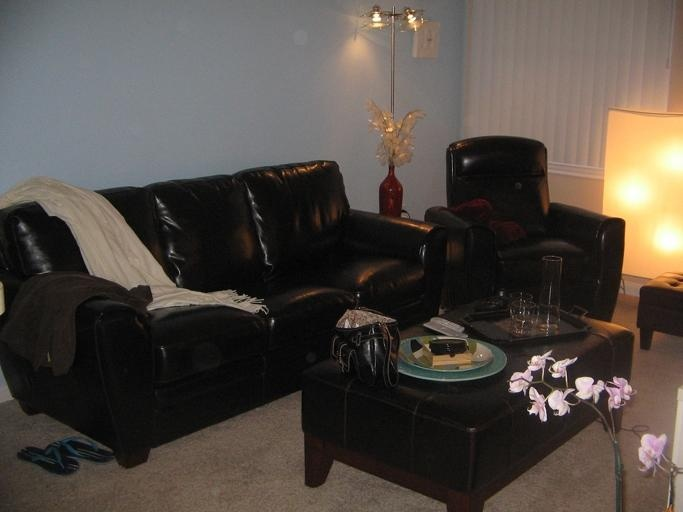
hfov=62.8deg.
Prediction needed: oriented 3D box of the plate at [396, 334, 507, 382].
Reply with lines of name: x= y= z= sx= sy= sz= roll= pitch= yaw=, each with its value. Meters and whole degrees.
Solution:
plate: x=0.445 y=0.437 z=2.223 sx=0.244 sy=0.026 sz=0.242 roll=-6 pitch=16 yaw=-15

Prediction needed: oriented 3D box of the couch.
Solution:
couch: x=-0.632 y=0.300 z=2.716 sx=0.582 sy=0.599 sz=1.407 roll=14 pitch=20 yaw=38

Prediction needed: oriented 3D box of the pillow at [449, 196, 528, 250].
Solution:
pillow: x=1.029 y=-0.257 z=3.973 sx=0.337 sy=0.171 sz=0.464 roll=-12 pitch=29 yaw=-41

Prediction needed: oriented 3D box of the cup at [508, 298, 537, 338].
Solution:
cup: x=0.811 y=0.274 z=2.519 sx=0.108 sy=0.157 sz=0.169 roll=6 pitch=12 yaw=26

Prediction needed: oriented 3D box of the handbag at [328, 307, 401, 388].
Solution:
handbag: x=0.079 y=0.346 z=2.201 sx=0.240 sy=0.244 sz=0.339 roll=-10 pitch=13 yaw=-32

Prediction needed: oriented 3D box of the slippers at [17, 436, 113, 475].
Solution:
slippers: x=-1.234 y=0.880 z=2.478 sx=0.242 sy=0.059 sz=0.187 roll=5 pitch=12 yaw=28

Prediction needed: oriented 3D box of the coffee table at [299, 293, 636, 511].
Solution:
coffee table: x=0.360 y=0.394 z=2.163 sx=0.659 sy=0.486 sz=1.057 roll=8 pitch=14 yaw=40
